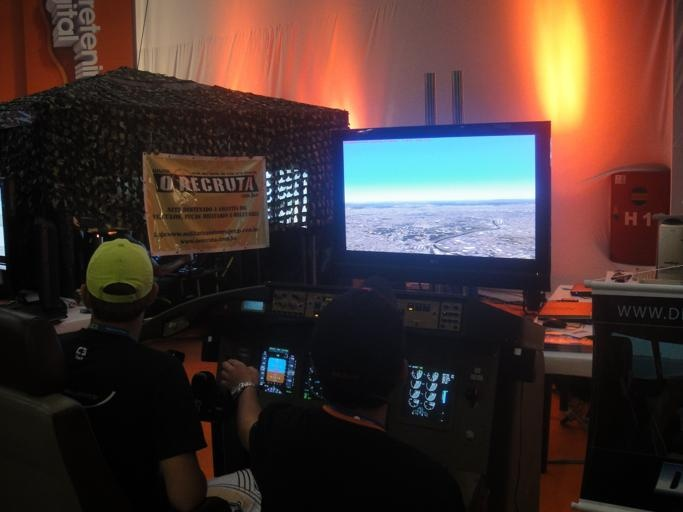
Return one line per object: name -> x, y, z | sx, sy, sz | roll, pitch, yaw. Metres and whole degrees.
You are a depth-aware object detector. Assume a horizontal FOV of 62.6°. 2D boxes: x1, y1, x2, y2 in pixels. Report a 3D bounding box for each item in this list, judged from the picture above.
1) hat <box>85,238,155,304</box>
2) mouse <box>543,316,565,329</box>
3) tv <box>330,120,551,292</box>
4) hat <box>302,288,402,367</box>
hat -> -0.823, 0.055, 2.087 | 0.171, 0.121, 0.277 | 3, 24, -9
mouse -> 1.295, 0.403, 3.426 | 0.139, 0.041, 0.159 | 3, 6, 21
tv -> 0.593, -0.303, 3.368 | 1.259, 0.936, 0.118 | 3, 6, 21
hat -> 0.034, 0.195, 1.625 | 0.214, 0.195, 0.233 | 5, 6, 33
